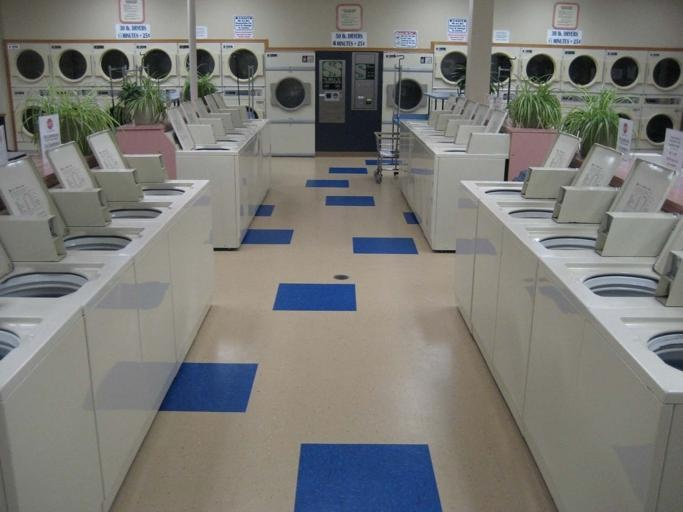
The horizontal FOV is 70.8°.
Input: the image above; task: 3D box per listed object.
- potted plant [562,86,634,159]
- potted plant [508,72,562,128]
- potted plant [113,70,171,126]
[{"bbox_3d":[2.086,-1.018,3.872,0.428,0.525,0.403,-9,-4,12],"label":"potted plant"},{"bbox_3d":[2.133,-1.643,5.408,0.534,0.504,0.559,16,20,41],"label":"potted plant"},{"bbox_3d":[-2.353,-1.750,5.491,0.506,0.480,0.538,-15,33,-20],"label":"potted plant"}]
